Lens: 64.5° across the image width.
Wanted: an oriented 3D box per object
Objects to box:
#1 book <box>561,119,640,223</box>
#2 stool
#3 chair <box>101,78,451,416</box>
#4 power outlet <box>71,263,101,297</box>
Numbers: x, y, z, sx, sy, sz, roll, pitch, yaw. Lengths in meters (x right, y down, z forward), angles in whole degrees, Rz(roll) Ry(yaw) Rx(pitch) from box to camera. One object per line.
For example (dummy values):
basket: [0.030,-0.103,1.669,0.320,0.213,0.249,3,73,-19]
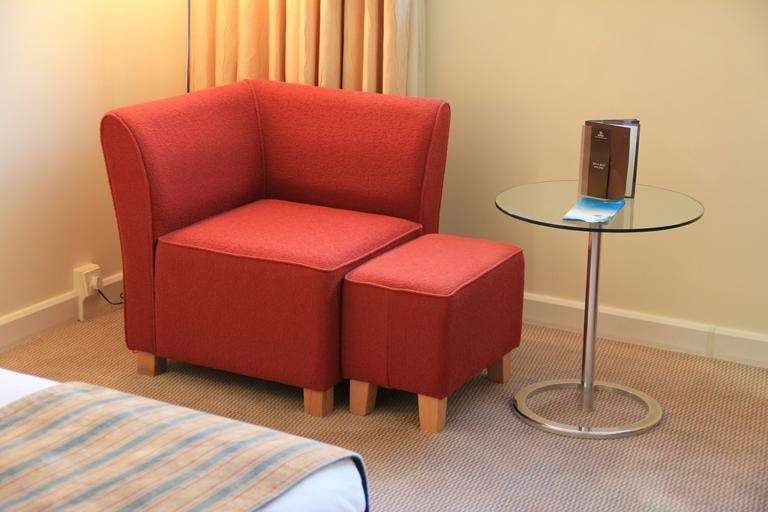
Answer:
book: [0.804,-0.330,2.194,0.212,0.294,0.540,10,23,21]
stool: [0.210,0.293,2.461,0.467,0.545,0.685,8,14,33]
chair: [-0.442,-0.134,2.721,1.458,1.043,1.364,-15,30,-38]
power outlet: [-1.457,0.107,2.956,0.093,0.123,0.132,9,19,20]
